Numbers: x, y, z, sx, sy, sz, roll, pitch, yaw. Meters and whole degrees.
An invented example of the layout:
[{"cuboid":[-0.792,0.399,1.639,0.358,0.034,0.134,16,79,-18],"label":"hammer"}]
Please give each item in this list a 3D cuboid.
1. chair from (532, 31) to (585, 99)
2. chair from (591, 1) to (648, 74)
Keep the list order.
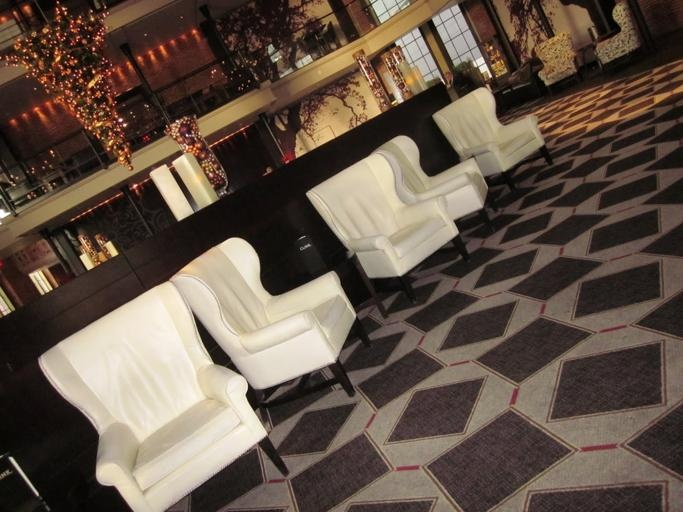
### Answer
[{"cuboid":[4.244,-3.826,10.537,0.732,1.030,0.836,-17,19,32],"label":"chair"},{"cuboid":[4.605,-3.697,8.943,0.476,0.984,0.904,-27,16,1],"label":"chair"}]
